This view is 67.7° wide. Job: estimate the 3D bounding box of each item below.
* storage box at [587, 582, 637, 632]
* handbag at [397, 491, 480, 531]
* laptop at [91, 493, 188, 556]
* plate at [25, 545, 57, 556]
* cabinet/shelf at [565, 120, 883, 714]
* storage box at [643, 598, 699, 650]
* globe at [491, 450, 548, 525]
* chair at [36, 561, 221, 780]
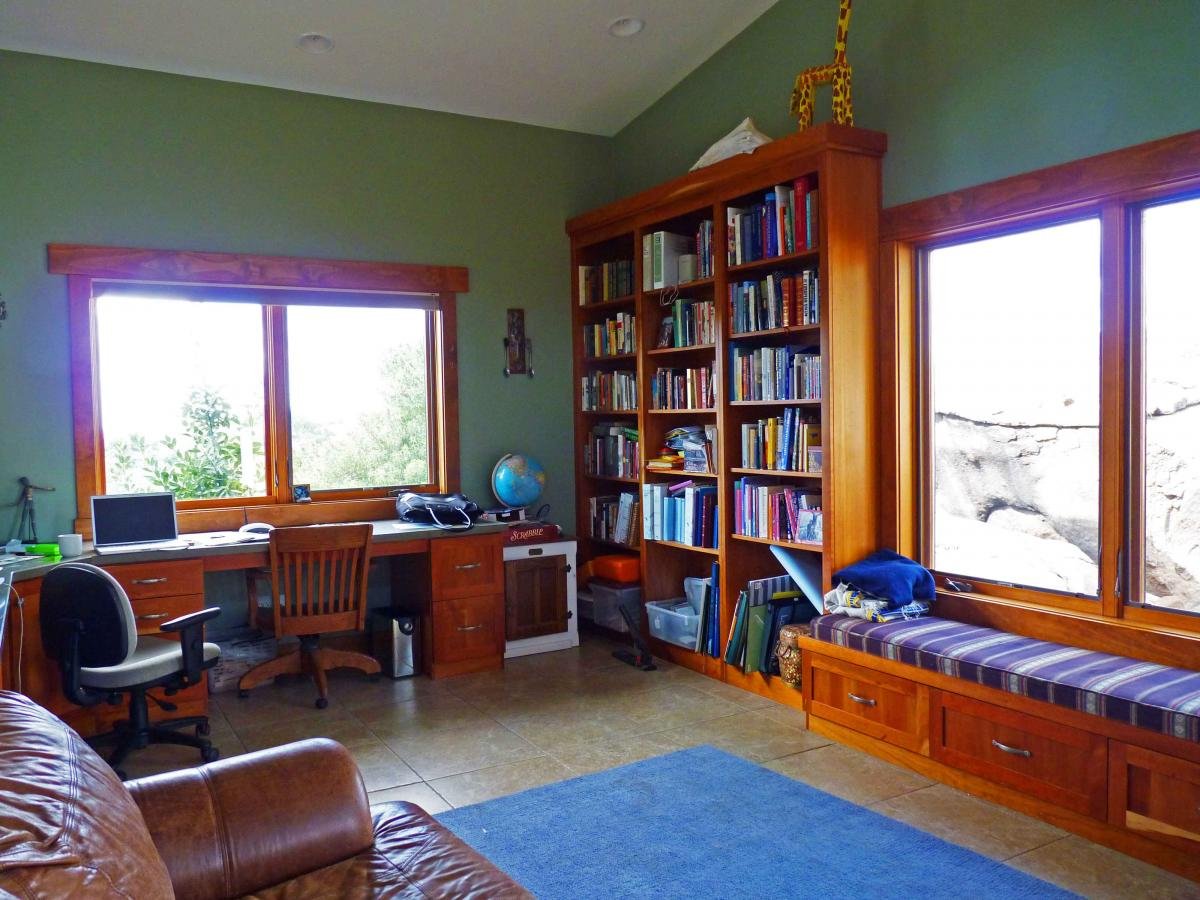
[{"bbox_3d":[0.037,1.050,6.099,0.326,0.311,0.488,0,1,-33],"label":"storage box"},{"bbox_3d":[-1.050,0.383,5.699,0.579,0.184,0.435,0,7,7],"label":"handbag"},{"bbox_3d":[-2.557,0.375,4.955,0.478,0.296,0.300,1,-4,-36],"label":"laptop"},{"bbox_3d":[-2.902,0.521,4.683,0.088,0.020,0.091,1,2,-3],"label":"plate"},{"bbox_3d":[0.701,-0.213,5.547,0.596,3.064,2.260,-6,8,-36],"label":"cabinet/shelf"},{"bbox_3d":[0.478,1.096,5.639,0.210,0.120,0.305,-1,4,-29],"label":"storage box"},{"bbox_3d":[-0.532,0.222,6.267,0.392,0.408,0.372,-12,12,-21],"label":"globe"},{"bbox_3d":[-2.229,1.028,4.302,0.760,0.885,0.742,-7,-8,43],"label":"chair"}]
